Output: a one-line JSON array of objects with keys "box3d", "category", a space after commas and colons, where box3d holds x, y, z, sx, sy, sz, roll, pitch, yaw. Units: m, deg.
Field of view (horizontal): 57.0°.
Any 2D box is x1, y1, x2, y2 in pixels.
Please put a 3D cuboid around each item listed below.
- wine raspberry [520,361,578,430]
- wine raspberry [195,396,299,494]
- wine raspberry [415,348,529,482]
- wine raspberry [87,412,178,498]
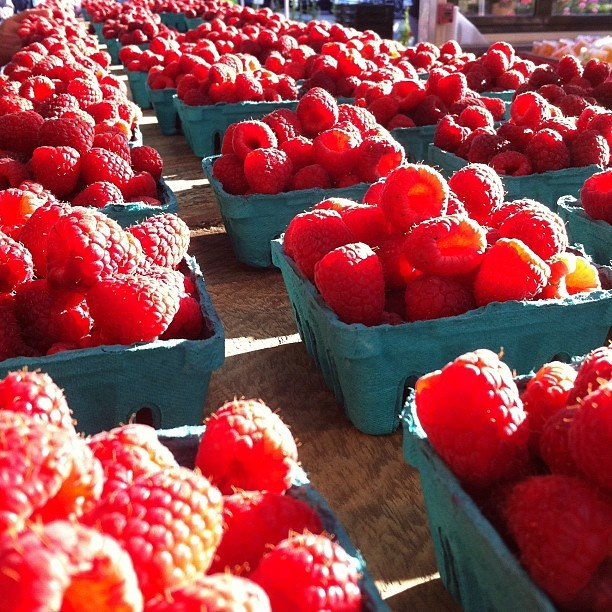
[{"box3d": [0.270, 0.095, 0.639, 0.038, 0.057, 0.073, 41, 55, -10], "category": "wine raspberry"}, {"box3d": [-0.056, 0.130, 0.521, 0.088, 0.069, 0.071, -5, 33, -16], "category": "wine raspberry"}, {"box3d": [0.187, 0.103, 0.609, 0.106, 0.128, 0.070, -6, 20, 46], "category": "wine raspberry"}, {"box3d": [-0.139, 0.110, 0.426, 0.048, 0.027, 0.057, 4, 14, -4], "category": "wine raspberry"}]
